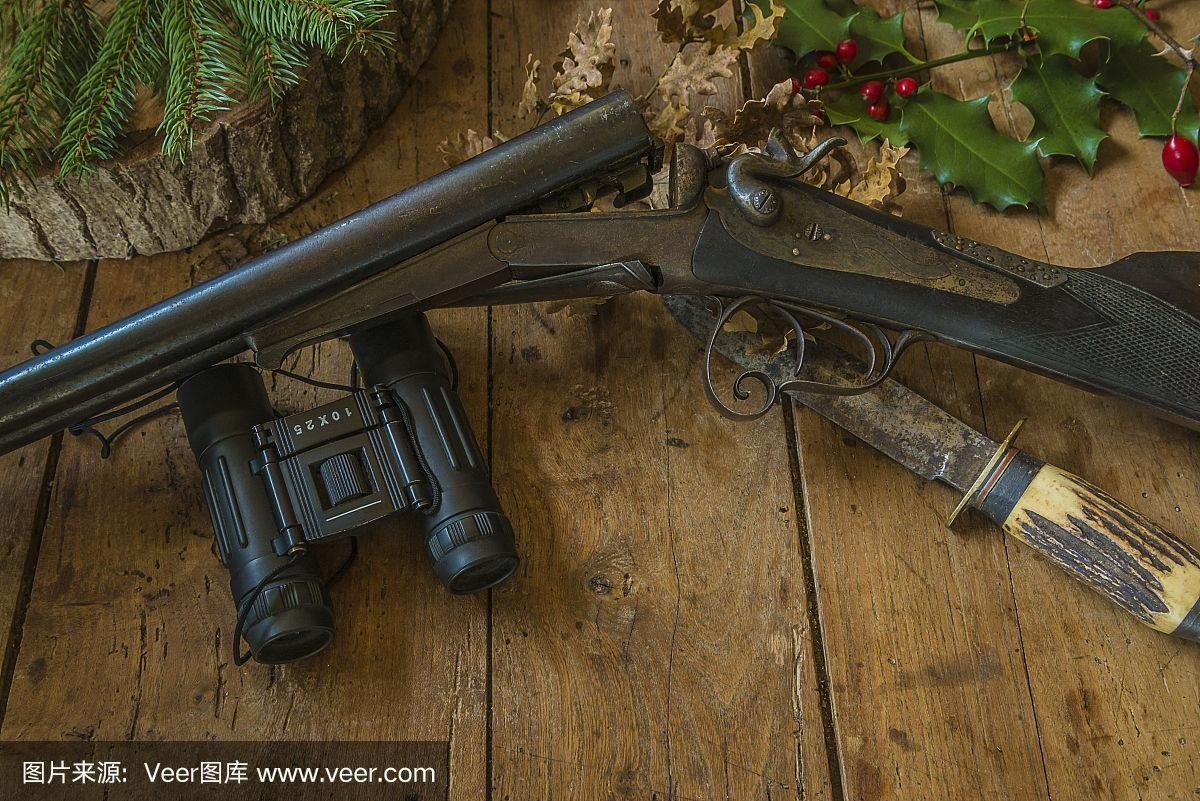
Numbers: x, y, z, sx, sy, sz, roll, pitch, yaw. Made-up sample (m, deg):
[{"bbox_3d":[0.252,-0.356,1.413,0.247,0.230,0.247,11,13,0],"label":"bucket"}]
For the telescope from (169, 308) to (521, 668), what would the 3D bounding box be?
[{"bbox_3d":[-0.520,0.183,2.375,0.585,0.461,0.530,-15,51,-15],"label":"telescope"}]
